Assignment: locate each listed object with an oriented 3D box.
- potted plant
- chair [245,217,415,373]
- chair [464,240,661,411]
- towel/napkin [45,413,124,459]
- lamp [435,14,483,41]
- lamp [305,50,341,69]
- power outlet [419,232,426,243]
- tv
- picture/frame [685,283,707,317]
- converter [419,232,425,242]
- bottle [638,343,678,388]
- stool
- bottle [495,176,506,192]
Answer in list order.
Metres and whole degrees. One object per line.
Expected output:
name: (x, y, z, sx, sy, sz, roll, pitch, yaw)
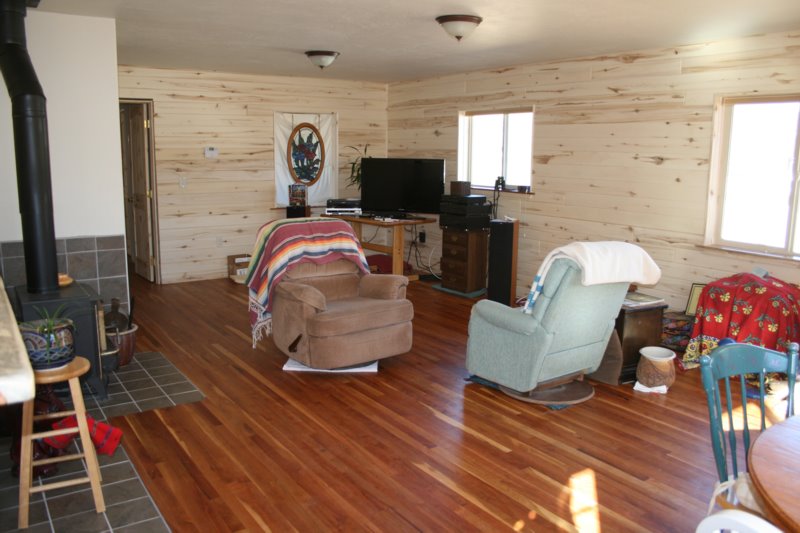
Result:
potted plant: (-2.152, 0.432, 3.301, 0.291, 0.248, 0.229, -1, 12, -12)
chair: (-0.655, 0.222, 5.229, 1.331, 1.085, 1.297, -7, 19, -33)
chair: (1.318, 0.443, 4.642, 1.394, 1.225, 1.316, 1, 5, -19)
towel/napkin: (-2.069, 1.132, 3.621, 0.448, 0.312, 0.147, 11, -18, -11)
lamp: (0.547, -2.218, 5.013, 0.353, 0.141, 0.319, 0, 0, -4)
lamp: (-0.932, -2.495, 6.515, 0.467, 0.174, 0.423, 0, 0, -10)
power outlet: (0.362, -0.461, 8.598, 0.165, 0.132, 0.040, 3, 3, 42)
tv: (0.039, -1.162, 8.052, 1.505, 0.861, 0.333, 8, 15, 34)
picture/frame: (2.991, 0.339, 5.454, 0.038, 0.413, 0.355, 20, -6, 0)
converter: (0.364, -0.459, 8.597, 0.148, 0.121, 0.037, 6, 8, 45)
bottle: (2.241, 0.890, 4.730, 0.335, 0.272, 0.323, 6, 14, 33)
stool: (-2.114, 1.011, 3.310, 0.462, 0.885, 0.661, -7, 15, -29)
bottle: (1.384, -1.138, 7.437, 0.142, 0.199, 0.228, 3, 13, 9)
